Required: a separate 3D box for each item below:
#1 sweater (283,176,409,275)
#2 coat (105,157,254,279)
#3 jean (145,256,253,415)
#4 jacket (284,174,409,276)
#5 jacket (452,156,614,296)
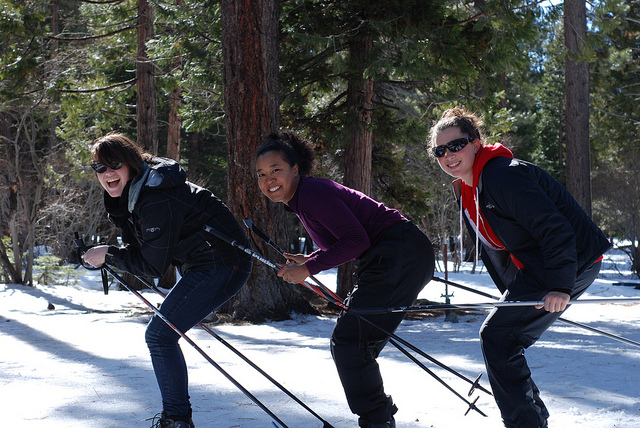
[{"bbox_3d":[0.283,0.155,10.365,1.442,1.319,0.422,1,1,-4],"label":"sweater"},{"bbox_3d":[-1.963,0.068,10.604,1.773,1.598,0.438,1,1,-17],"label":"coat"},{"bbox_3d":[-1.755,1.716,10.579,1.280,2.100,0.283,0,1,-23],"label":"jean"},{"bbox_3d":[0.361,0.309,10.871,1.727,1.641,1.659,-14,-16,-11],"label":"jacket"},{"bbox_3d":[2.907,-0.037,10.931,1.455,2.060,2.289,-37,11,-5],"label":"jacket"}]
